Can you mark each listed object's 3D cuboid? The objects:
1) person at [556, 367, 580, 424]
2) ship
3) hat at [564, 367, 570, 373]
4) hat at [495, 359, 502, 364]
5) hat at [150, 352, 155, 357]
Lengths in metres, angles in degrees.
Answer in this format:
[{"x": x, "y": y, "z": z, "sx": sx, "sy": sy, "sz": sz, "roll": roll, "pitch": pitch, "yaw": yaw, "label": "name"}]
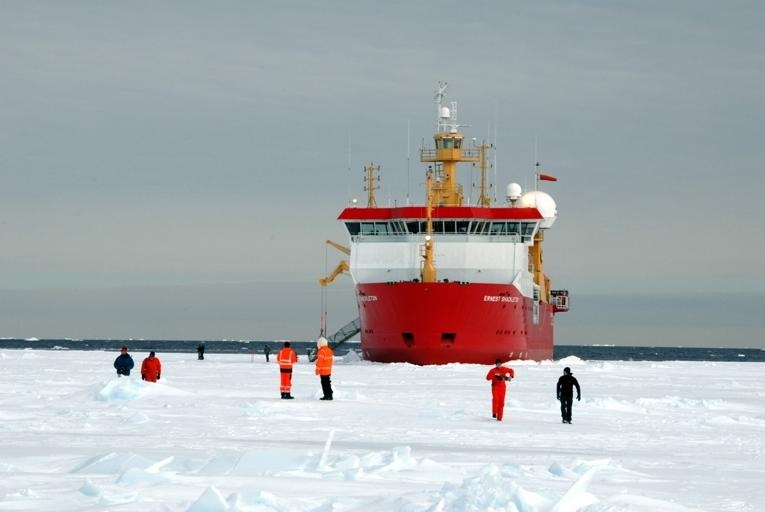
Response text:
[{"x": 4.885, "y": 3.654, "z": 37.019, "sx": 0.526, "sy": 1.372, "sz": 1.470, "roll": 1, "pitch": 1, "yaw": 8, "label": "person"}, {"x": 2.366, "y": 0.301, "z": 68.741, "sx": 9.849, "sy": 9.230, "sz": 16.540, "roll": -1, "pitch": -4, "yaw": 10, "label": "ship"}, {"x": 4.905, "y": 3.029, "z": 37.152, "sx": 0.132, "sy": 0.162, "sz": 0.165, "roll": 5, "pitch": 28, "yaw": -6, "label": "hat"}, {"x": 3.072, "y": 2.794, "z": 37.073, "sx": 0.154, "sy": 0.184, "sz": 0.184, "roll": -1, "pitch": 33, "yaw": 2, "label": "hat"}, {"x": -6.928, "y": 2.953, "z": 42.121, "sx": 0.122, "sy": 0.143, "sz": 0.154, "roll": 2, "pitch": 4, "yaw": -8, "label": "hat"}]
